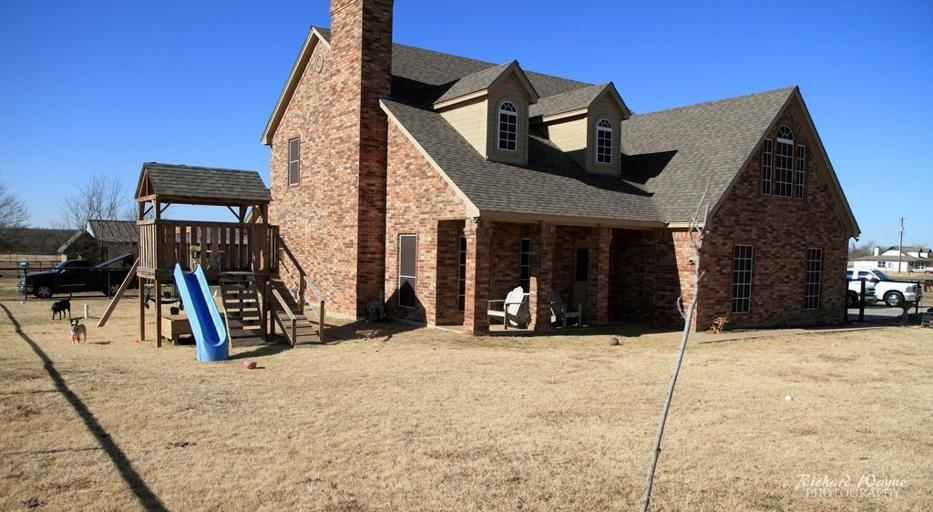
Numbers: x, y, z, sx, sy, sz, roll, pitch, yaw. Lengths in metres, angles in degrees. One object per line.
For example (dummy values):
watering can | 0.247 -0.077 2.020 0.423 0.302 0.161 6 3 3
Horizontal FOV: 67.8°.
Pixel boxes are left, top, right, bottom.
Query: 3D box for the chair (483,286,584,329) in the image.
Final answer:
chair | 2.882 2.143 29.602 3.775 1.717 1.826 -1 -2 -1

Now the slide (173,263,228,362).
slide | -9.112 2.106 24.695 1.285 4.547 1.369 -9 -27 -38

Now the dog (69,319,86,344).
dog | -14.582 2.783 26.011 0.453 0.812 0.896 -1 -2 -27
